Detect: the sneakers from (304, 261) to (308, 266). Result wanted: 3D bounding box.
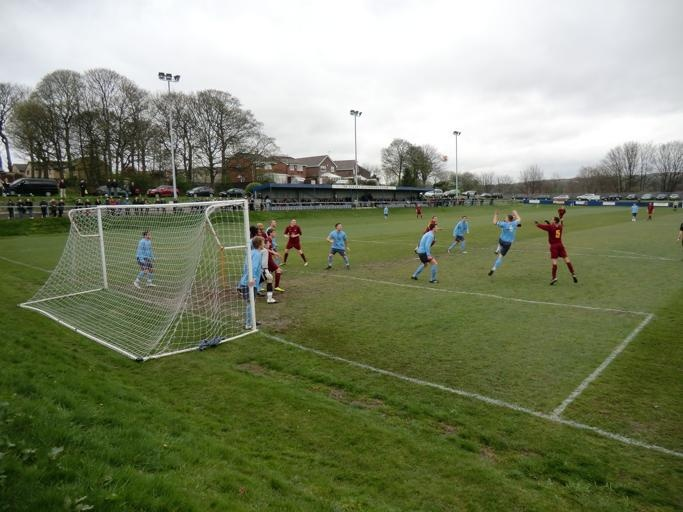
[{"bbox_3d":[-1.326,0.308,18.682,0.147,0.188,0.431,-3,4,-12],"label":"sneakers"}]

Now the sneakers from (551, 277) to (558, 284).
[{"bbox_3d":[6.199,0.744,14.577,0.113,0.131,0.310,0,13,13],"label":"sneakers"}]

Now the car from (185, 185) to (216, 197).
[{"bbox_3d":[-16.116,-7.356,57.733,2.831,1.269,1.687,-2,6,-36],"label":"car"}]

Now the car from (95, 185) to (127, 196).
[{"bbox_3d":[-21.686,-5.886,47.303,2.754,0.993,1.462,-7,18,-31],"label":"car"}]

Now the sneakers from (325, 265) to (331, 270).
[{"bbox_3d":[-0.464,0.402,17.473,0.229,0.157,0.079,13,28,20],"label":"sneakers"}]

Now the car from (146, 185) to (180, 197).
[{"bbox_3d":[-18.645,-7.160,52.695,2.930,1.329,1.712,-1,5,-41],"label":"car"}]

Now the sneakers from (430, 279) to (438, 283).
[{"bbox_3d":[2.761,0.760,14.976,0.177,0.072,0.100,2,6,40],"label":"sneakers"}]

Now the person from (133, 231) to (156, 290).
[{"bbox_3d":[-5.740,0.076,14.443,0.519,1.603,0.929,-4,8,-21],"label":"person"}]

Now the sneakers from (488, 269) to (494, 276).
[{"bbox_3d":[4.752,0.540,15.891,0.098,0.149,0.247,14,5,10],"label":"sneakers"}]
